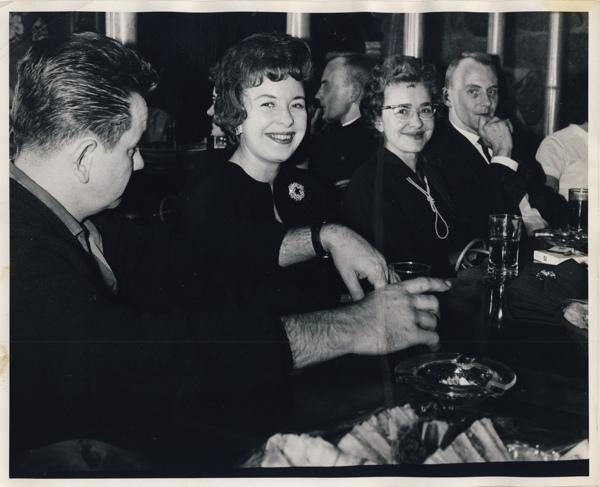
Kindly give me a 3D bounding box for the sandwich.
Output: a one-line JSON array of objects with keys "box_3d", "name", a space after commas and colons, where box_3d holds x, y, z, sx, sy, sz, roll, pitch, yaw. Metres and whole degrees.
[{"box_3d": [0.467, 0.750, 2.565, 0.485, 0.262, 0.020, 2, -6, 0], "name": "sandwich"}]
